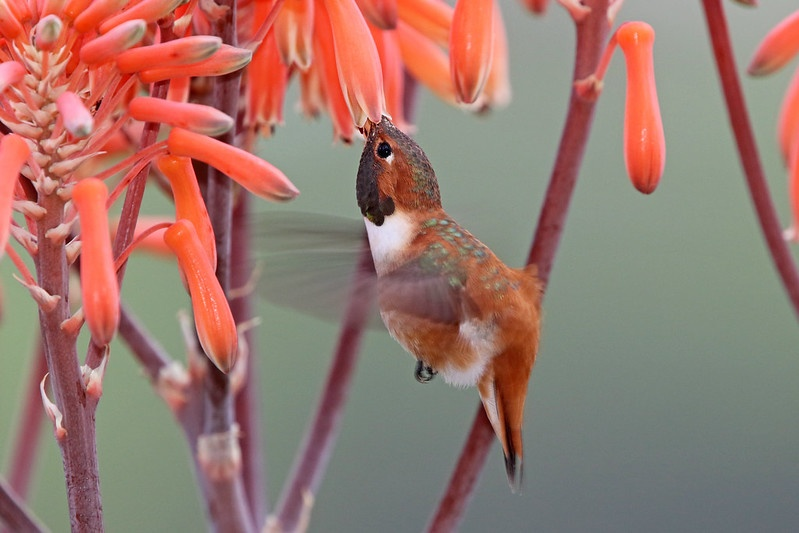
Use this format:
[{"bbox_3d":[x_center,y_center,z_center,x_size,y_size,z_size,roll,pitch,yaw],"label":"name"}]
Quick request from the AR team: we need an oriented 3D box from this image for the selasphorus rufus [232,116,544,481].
[{"bbox_3d":[0.001,0.026,1.225,0.364,0.406,0.250,3,-5,37],"label":"selasphorus rufus"}]
